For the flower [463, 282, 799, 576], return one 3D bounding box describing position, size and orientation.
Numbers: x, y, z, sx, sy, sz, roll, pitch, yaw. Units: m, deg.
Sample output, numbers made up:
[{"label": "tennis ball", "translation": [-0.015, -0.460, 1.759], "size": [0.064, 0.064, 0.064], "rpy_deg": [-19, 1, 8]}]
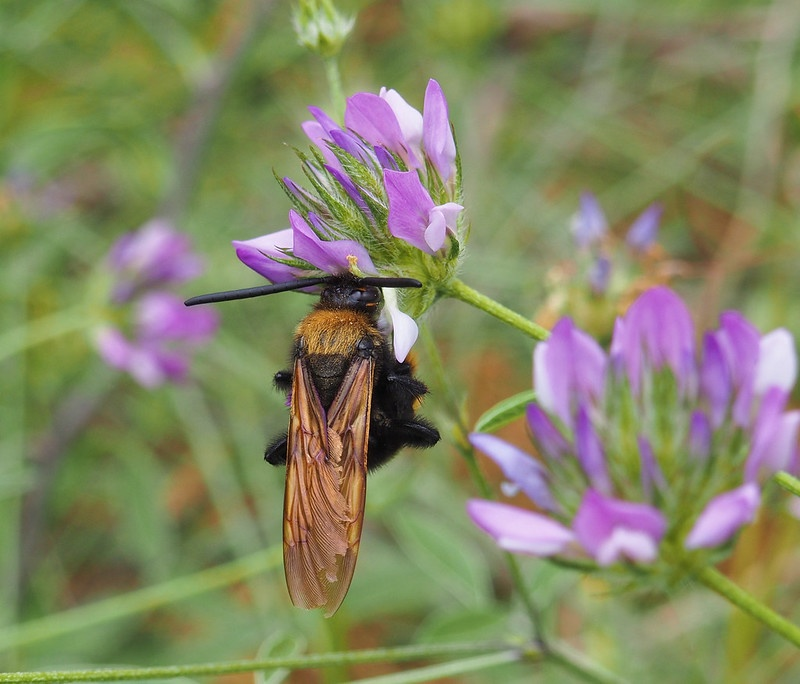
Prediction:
[{"label": "flower", "translation": [0.472, 0.190, 1.802], "size": [0.732, 0.513, 0.235], "rpy_deg": [-17, -19, 0]}]
